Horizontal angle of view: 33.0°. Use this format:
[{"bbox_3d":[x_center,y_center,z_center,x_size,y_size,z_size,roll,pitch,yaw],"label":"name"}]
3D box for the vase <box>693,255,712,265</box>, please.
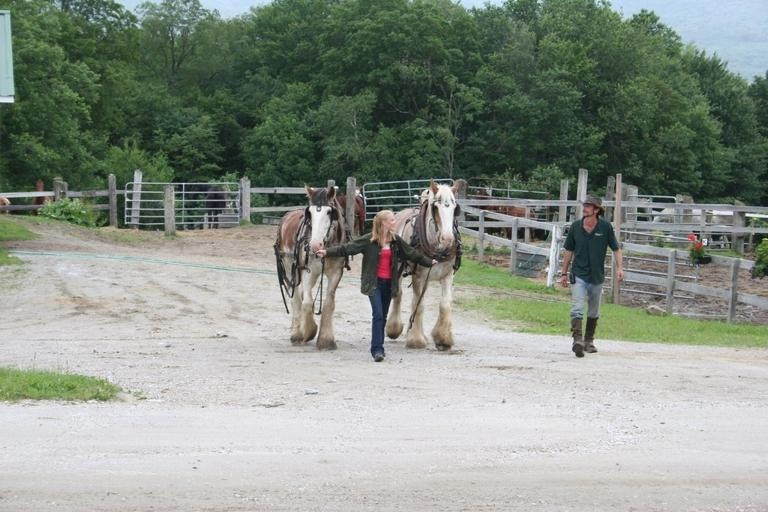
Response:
[{"bbox_3d":[16.111,0.174,66.020,0.823,0.391,0.681,0,-4,-11],"label":"vase"}]
